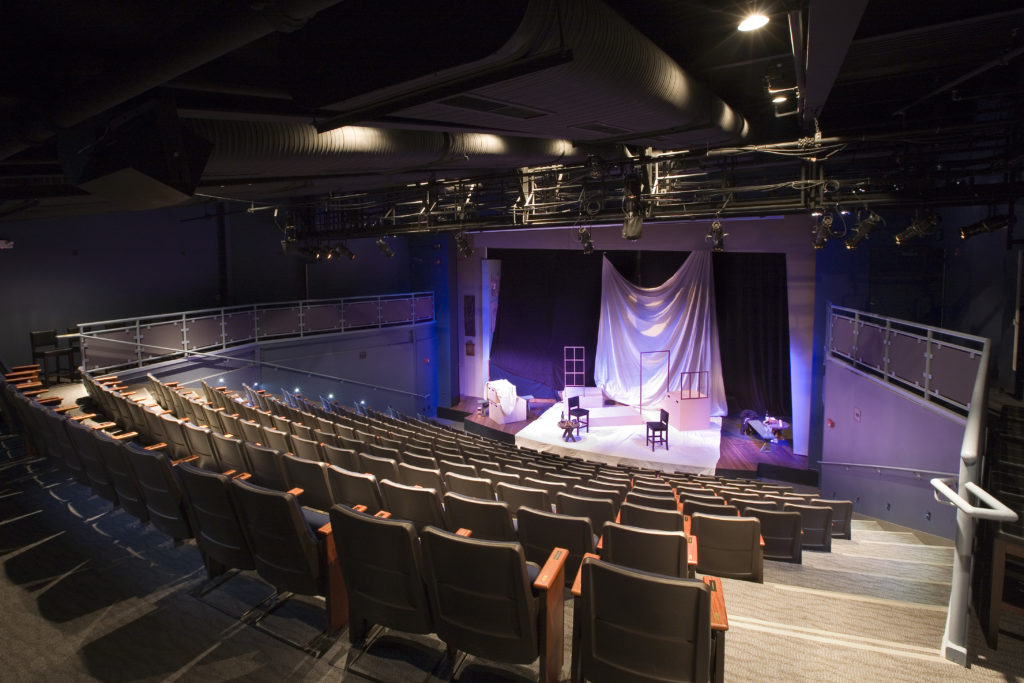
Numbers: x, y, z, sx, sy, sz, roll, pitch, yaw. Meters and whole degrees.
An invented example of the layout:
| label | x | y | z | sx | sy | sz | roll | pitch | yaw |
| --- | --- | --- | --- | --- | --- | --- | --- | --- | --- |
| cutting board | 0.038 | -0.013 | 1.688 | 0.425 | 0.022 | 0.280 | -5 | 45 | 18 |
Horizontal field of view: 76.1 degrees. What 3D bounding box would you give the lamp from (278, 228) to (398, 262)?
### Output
| label | x | y | z | sx | sy | sz | roll | pitch | yaw |
| --- | --- | --- | --- | --- | --- | --- | --- | --- | --- |
| lamp | -5.365 | -2.548 | 18.046 | 1.929 | 0.539 | 1.981 | -2 | 3 | -24 |
